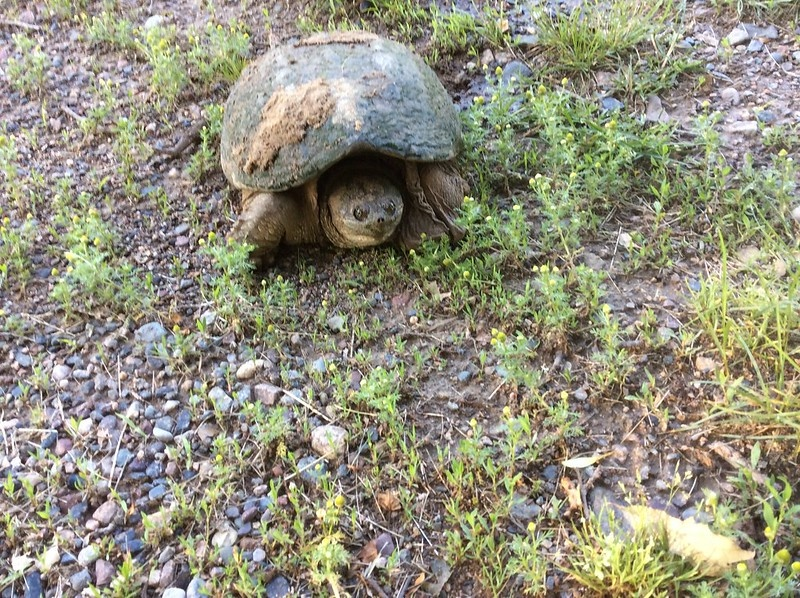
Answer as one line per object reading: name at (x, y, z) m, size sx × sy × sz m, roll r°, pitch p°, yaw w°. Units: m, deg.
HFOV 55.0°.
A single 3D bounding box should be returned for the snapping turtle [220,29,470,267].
snapping turtle at (-0.322, -0.846, 4.572) m, size 1.375 × 0.951 × 1.000 m, roll -15°, pitch 45°, yaw 10°
